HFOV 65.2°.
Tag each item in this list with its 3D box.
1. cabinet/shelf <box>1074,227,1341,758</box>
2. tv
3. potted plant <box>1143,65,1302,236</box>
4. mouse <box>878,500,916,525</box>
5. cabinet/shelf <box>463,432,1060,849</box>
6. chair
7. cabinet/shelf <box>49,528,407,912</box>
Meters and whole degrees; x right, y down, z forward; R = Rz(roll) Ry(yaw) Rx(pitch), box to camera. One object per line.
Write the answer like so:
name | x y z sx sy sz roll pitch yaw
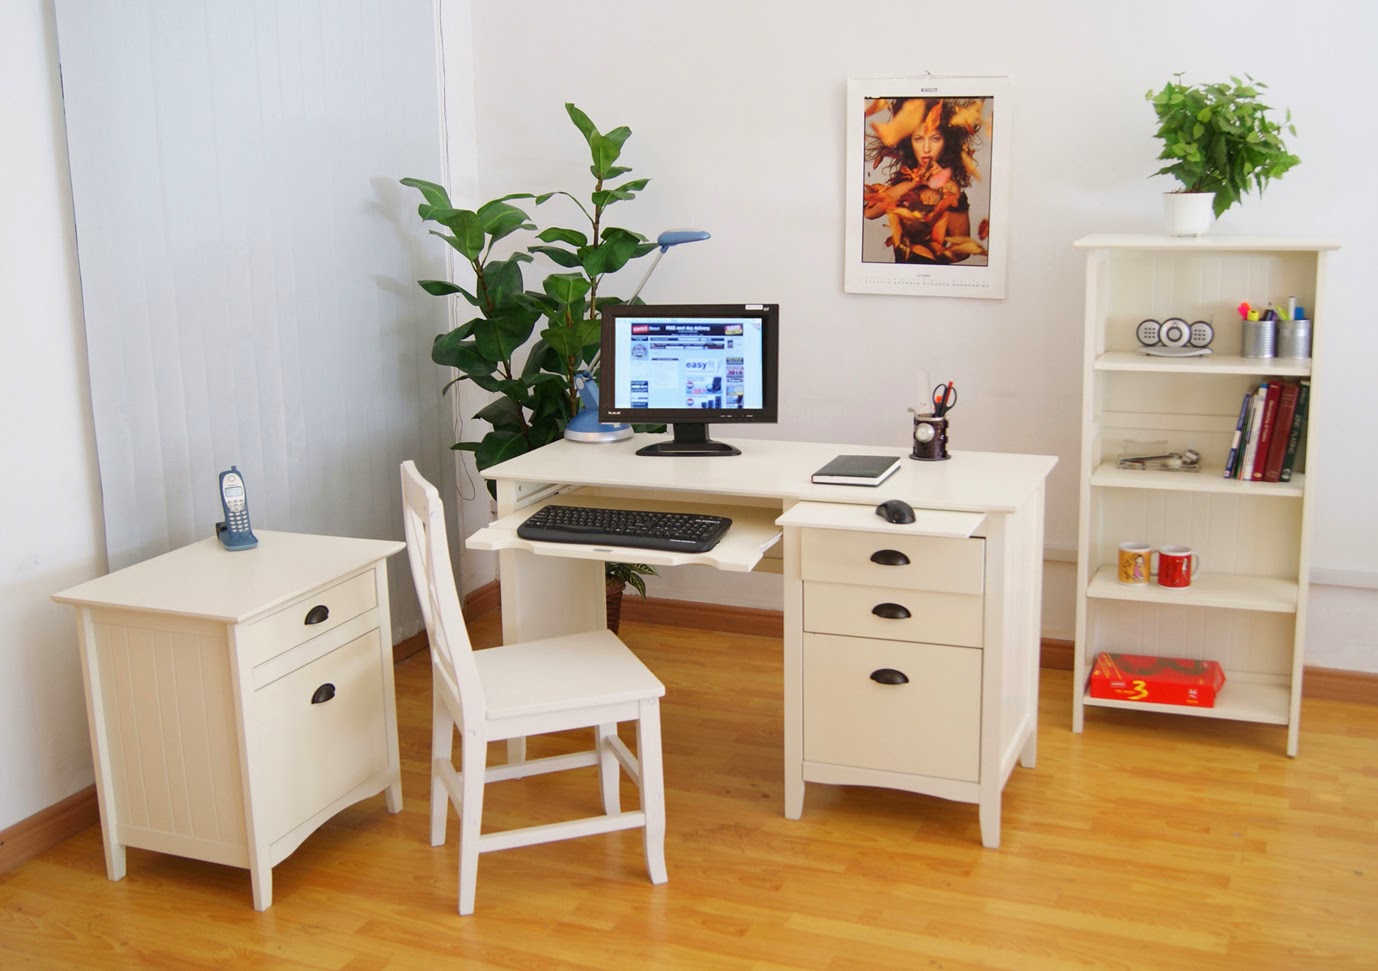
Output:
cabinet/shelf | 1.611 0.012 3.517 0.780 1.619 0.431 -1 9 14
tv | -0.007 -0.352 3.416 0.529 0.436 0.217 0 2 4
potted plant | 1.672 -1.042 3.394 0.450 0.468 0.212 5 15 20
mouse | 0.549 0.065 2.866 0.119 0.051 0.083 5 15 23
cabinet/shelf | 0.206 0.448 3.350 1.668 0.937 1.197 2 10 20
chair | -0.412 0.547 2.950 0.749 0.986 0.647 -4 7 -39
cabinet/shelf | -1.250 0.577 3.396 0.955 1.144 1.023 4 12 17
